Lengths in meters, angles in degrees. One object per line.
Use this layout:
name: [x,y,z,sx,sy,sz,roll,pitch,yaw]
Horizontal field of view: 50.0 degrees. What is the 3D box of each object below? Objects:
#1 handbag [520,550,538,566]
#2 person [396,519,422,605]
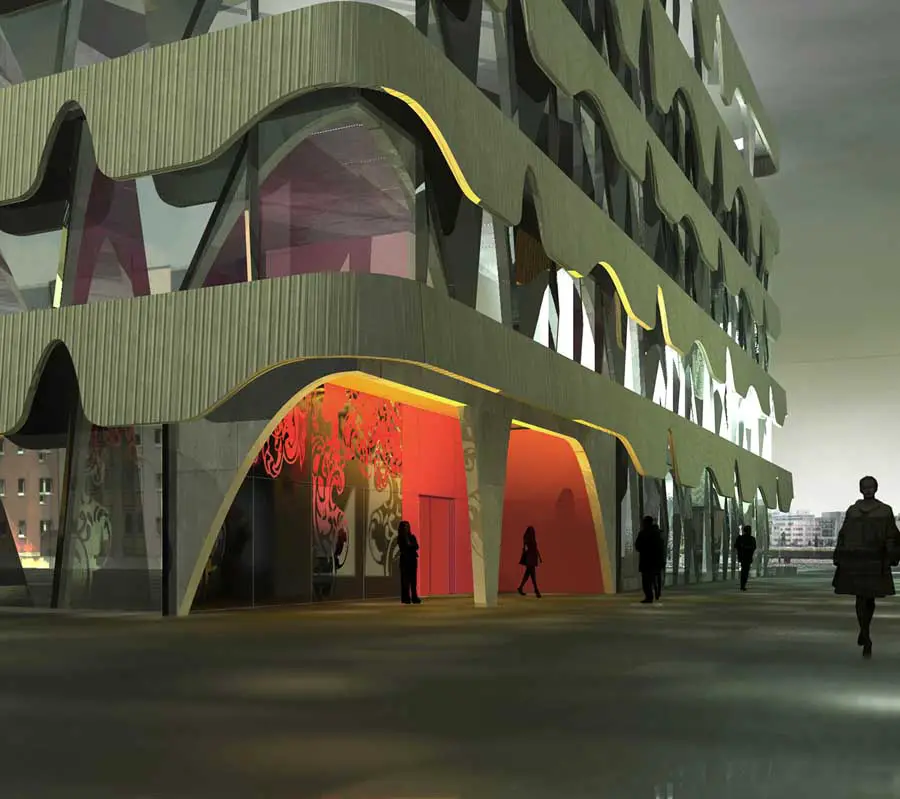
handbag: [2.066,4.105,25.064,0.444,0.620,0.353,0,-6,5]
person: [-0.933,3.659,21.661,0.501,1.796,1.523,2,-8,-2]
